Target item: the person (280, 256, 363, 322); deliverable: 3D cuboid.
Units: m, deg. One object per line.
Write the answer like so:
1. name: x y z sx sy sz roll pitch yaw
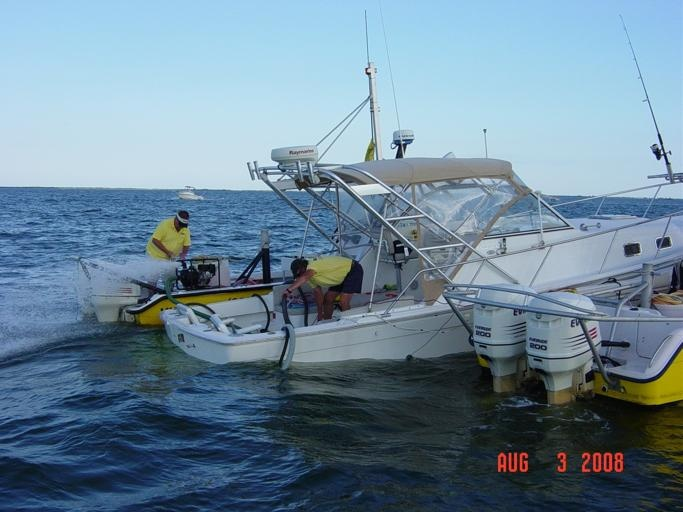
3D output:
1. person: -0.232 0.448 9.508 1.097 0.885 0.756 -1 8 0
